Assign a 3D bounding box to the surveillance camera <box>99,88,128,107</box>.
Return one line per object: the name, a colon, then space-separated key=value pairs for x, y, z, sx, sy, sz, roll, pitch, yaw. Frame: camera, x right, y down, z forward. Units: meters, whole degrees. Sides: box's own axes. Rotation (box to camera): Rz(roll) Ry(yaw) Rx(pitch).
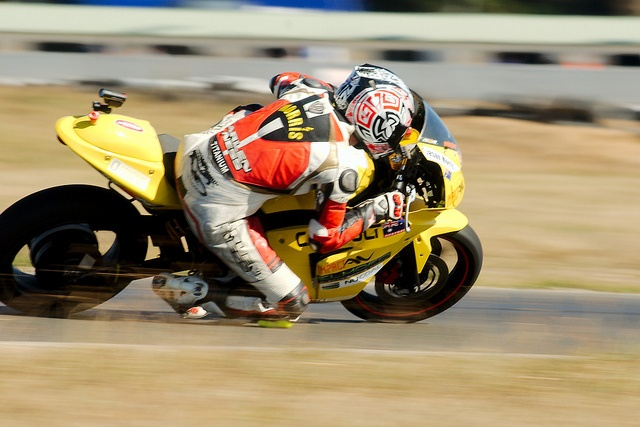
surveillance camera: x=-1.732 y=-0.956 z=5.740 sx=0.197 sy=0.176 sz=0.215 roll=-2 pitch=27 yaw=-14
